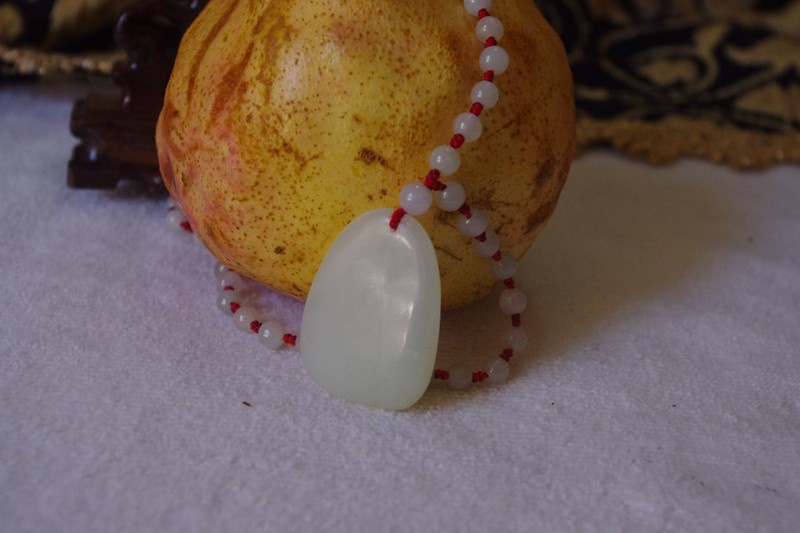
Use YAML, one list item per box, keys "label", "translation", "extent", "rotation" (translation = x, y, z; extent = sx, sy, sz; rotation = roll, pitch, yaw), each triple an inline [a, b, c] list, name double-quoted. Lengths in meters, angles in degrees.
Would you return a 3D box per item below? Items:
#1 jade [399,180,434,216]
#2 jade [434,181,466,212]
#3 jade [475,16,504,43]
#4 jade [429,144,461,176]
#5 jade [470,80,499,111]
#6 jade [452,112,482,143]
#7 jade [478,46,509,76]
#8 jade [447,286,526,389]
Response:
- label: "jade"
  translation: [0.023, -0.103, 1.443]
  extent: [0.048, 0.028, 0.045]
  rotation: [2, 81, -2]
- label: "jade"
  translation: [0.077, -0.105, 1.449]
  extent: [0.037, 0.040, 0.060]
  rotation: [-7, 97, -12]
- label: "jade"
  translation: [0.134, -0.359, 1.454]
  extent: [0.032, 0.035, 0.046]
  rotation: [3, 100, 14]
- label: "jade"
  translation: [0.067, -0.160, 1.437]
  extent: [0.038, 0.039, 0.042]
  rotation: [20, 99, -17]
- label: "jade"
  translation: [0.126, -0.257, 1.440]
  extent: [0.033, 0.037, 0.047]
  rotation: [3, 98, 10]
- label: "jade"
  translation: [0.100, -0.209, 1.437]
  extent: [0.034, 0.038, 0.048]
  rotation: [0, 98, 13]
- label: "jade"
  translation: [0.144, -0.315, 1.466]
  extent: [0.035, 0.038, 0.048]
  rotation: [4, 109, 24]
- label: "jade"
  translation: [0.152, 0.130, 1.597]
  extent: [0.097, 0.042, 0.183]
  rotation: [40, 71, -2]
